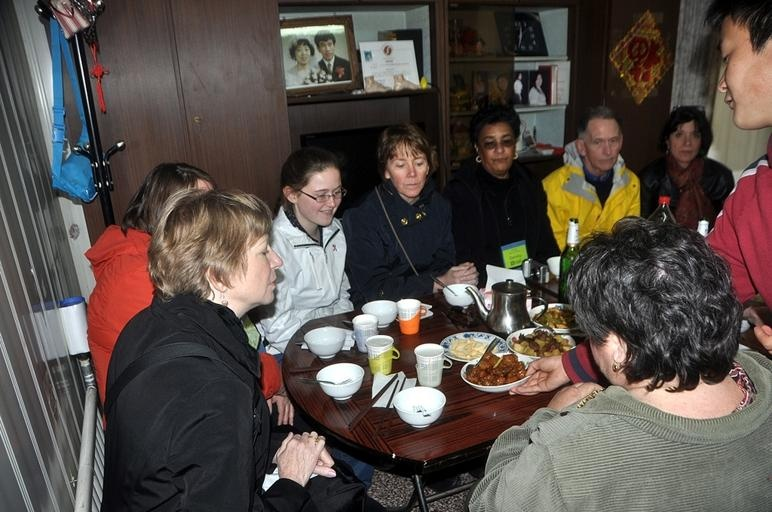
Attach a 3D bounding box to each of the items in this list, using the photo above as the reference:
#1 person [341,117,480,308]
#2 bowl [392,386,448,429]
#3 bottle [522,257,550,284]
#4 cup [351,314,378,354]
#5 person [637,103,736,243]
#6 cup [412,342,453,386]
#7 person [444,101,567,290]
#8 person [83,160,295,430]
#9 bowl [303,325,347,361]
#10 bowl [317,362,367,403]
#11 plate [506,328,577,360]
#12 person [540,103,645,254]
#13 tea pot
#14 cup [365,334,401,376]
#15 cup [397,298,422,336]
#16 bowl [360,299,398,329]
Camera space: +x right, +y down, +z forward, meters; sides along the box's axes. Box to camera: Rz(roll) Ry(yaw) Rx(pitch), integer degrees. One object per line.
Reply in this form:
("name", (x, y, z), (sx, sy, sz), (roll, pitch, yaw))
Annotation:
("person", (0.121, -0.152, 2.891), (0.762, 1.119, 0.768), (-20, 36, -35))
("bowl", (0.116, 0.540, 1.735), (0.180, 0.095, 0.140), (-9, 18, 1))
("bottle", (0.803, 0.097, 2.662), (0.161, 0.167, 0.099), (2, 6, 29))
("cup", (-0.106, 0.336, 2.107), (0.115, 0.138, 0.133), (-5, 13, -28))
("person", (2.250, -0.431, 3.756), (0.582, 1.338, 0.400), (15, 34, 42))
("cup", (0.186, 0.432, 1.879), (0.152, 0.159, 0.107), (9, 26, 28))
("person", (0.751, -0.319, 3.204), (0.808, 1.185, 0.742), (-17, 20, -29))
("person", (-0.931, 0.230, 2.266), (0.768, 1.159, 0.691), (-6, 8, -17))
("bowl", (-0.251, 0.382, 2.072), (0.161, 0.088, 0.161), (0, 12, 0))
("bowl", (-0.163, 0.501, 1.860), (0.162, 0.076, 0.168), (-9, -2, 0))
("plate", (0.620, 0.365, 2.012), (0.149, 0.048, 0.151), (-4, 14, -2))
("person", (1.501, -0.415, 3.510), (0.752, 1.145, 0.625), (-7, 21, -7))
("tea pot", (0.518, 0.209, 2.213), (0.318, 0.236, 0.197), (11, 19, 34))
("cup", (-0.015, 0.410, 1.956), (0.134, 0.134, 0.117), (4, 14, 32))
("cup", (0.109, 0.283, 2.221), (0.123, 0.133, 0.105), (-12, 20, -25))
("bowl", (-0.029, 0.256, 2.259), (0.124, 0.066, 0.125), (-3, 16, 1))
